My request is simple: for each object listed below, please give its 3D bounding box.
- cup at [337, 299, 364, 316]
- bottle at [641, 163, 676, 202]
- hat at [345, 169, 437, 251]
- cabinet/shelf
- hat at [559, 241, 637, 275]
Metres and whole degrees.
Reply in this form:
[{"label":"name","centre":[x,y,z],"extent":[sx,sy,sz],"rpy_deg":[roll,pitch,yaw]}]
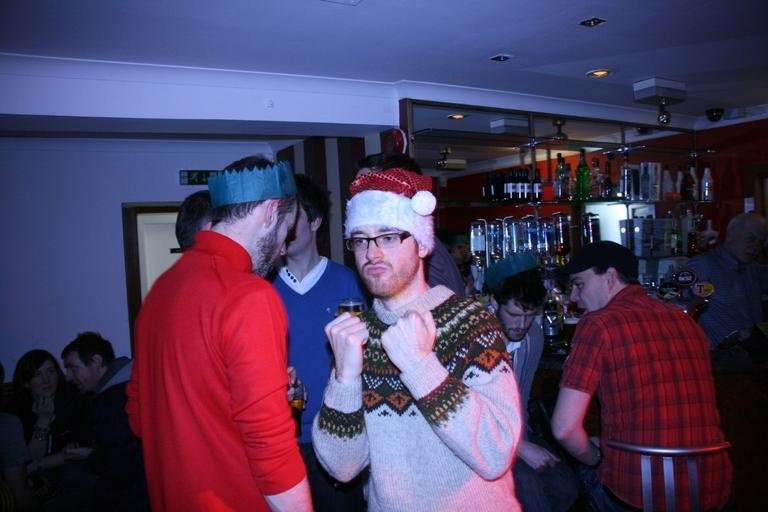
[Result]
[{"label":"cup","centre":[-0.151,0.223,2.509],"extent":[0.076,0.056,0.079],"rpy_deg":[0,-1,0]},{"label":"bottle","centre":[2.937,-0.791,6.097],"extent":[0.429,0.446,0.154],"rpy_deg":[0,-2,-32]},{"label":"hat","centre":[0.042,-0.188,2.577],"extent":[0.306,0.360,0.385],"rpy_deg":[-2,-4,5]},{"label":"cabinet/shelf","centre":[1.540,-0.963,5.464],"extent":[2.825,0.816,0.293],"rpy_deg":[5,-4,7]},{"label":"hat","centre":[1.261,0.029,3.381],"extent":[0.454,0.238,0.333],"rpy_deg":[0,-14,20]}]
